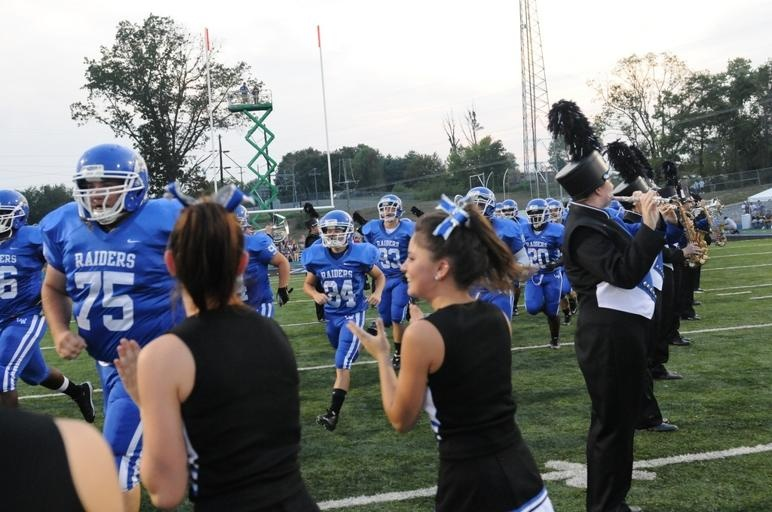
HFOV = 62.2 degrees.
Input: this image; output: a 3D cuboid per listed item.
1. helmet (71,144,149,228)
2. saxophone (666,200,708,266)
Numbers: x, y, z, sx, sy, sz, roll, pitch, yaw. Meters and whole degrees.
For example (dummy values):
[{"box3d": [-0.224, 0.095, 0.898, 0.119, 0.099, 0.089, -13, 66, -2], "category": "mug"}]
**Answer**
[{"box3d": [-1.795, -0.463, 4.180, 0.457, 0.525, 0.259, -6, 7, -25], "category": "helmet"}, {"box3d": [3.248, -0.240, 6.933, 0.432, 0.980, 0.510, 1, -1, 2], "category": "saxophone"}]
